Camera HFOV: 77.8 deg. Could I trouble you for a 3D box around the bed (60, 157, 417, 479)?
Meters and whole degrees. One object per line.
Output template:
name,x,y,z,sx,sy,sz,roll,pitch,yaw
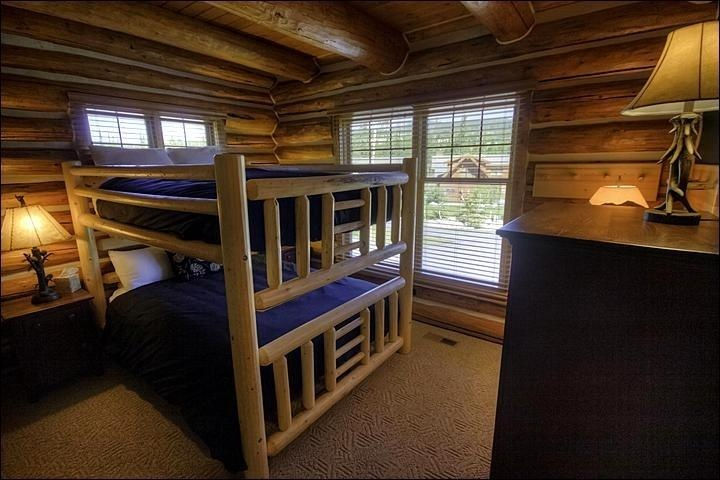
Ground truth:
bed,-1.248,0.175,3.972,2.989,1.742,2.111,10,19,34

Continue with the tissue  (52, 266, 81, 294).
tissue ,-2.329,0.322,3.514,0.127,0.129,0.176,19,16,-22

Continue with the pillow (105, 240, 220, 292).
pillow,-1.730,0.222,3.872,0.675,0.161,0.633,18,11,35
